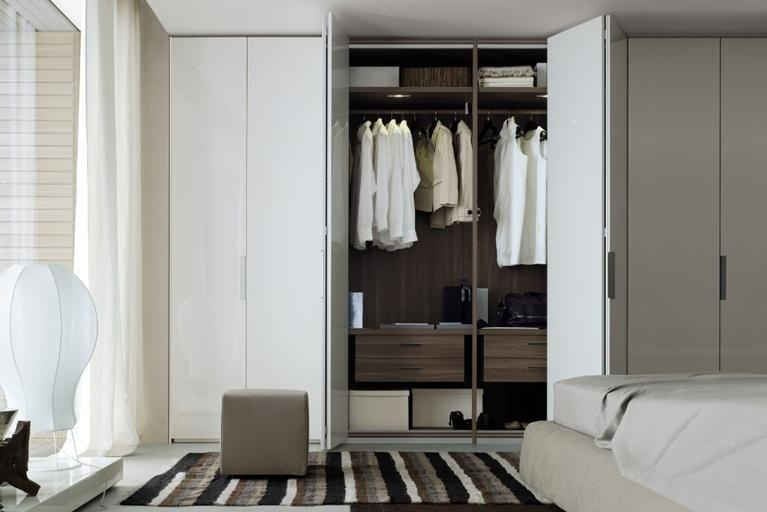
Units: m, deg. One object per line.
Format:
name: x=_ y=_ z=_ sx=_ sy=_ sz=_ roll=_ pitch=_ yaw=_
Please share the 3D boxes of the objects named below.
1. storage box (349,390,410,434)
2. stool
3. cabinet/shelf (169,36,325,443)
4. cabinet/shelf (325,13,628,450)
storage box: x=-0.045 y=1.249 z=5.511 sx=0.360 sy=0.234 sz=0.372 roll=0 pitch=-3 yaw=5
stool: x=-0.808 y=1.157 z=4.662 sx=0.539 sy=0.498 sz=0.552 roll=0 pitch=-6 yaw=-2
cabinet/shelf: x=-1.118 y=-0.142 z=5.485 sx=1.231 sy=3.202 sz=0.386 roll=0 pitch=5 yaw=3
cabinet/shelf: x=1.159 y=-0.180 z=5.506 sx=1.595 sy=3.335 sz=0.685 roll=1 pitch=5 yaw=14
